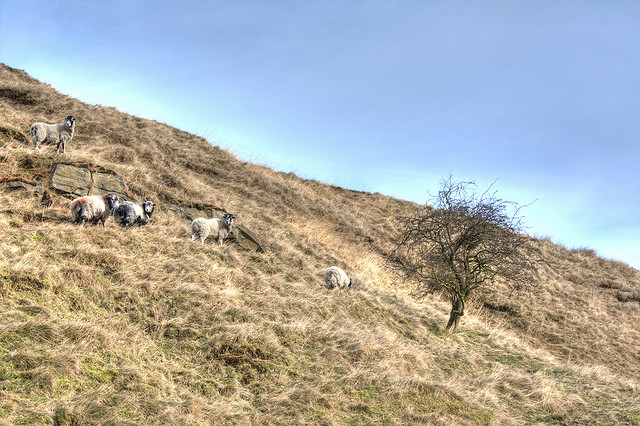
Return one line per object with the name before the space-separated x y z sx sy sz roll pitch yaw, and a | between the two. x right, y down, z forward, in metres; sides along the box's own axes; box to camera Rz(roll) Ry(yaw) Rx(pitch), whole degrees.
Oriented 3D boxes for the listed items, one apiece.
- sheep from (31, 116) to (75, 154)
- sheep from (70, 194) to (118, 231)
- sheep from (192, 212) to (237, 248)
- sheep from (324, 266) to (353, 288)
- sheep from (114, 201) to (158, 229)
sheep | -10.491 -3.137 23.082 1.012 1.588 1.417 17 -1 29
sheep | -7.788 0.017 20.461 0.699 1.306 1.973 1 3 28
sheep | -4.027 0.724 22.667 1.801 1.404 0.706 5 -13 -41
sheep | 0.662 2.645 23.484 0.987 0.808 0.555 18 -1 -14
sheep | -6.635 0.162 21.293 0.638 1.161 1.831 -1 -1 31
